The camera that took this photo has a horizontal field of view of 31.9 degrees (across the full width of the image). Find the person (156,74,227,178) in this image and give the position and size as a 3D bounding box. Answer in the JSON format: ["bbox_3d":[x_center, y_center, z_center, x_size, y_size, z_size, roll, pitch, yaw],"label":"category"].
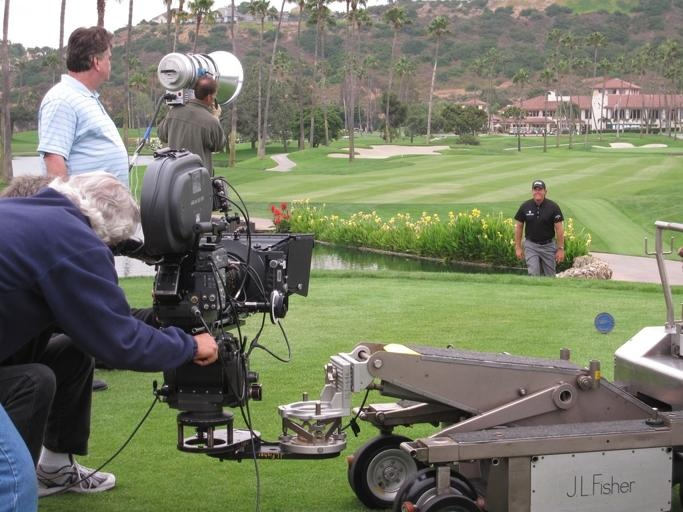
[{"bbox_3d":[-1.305,-1.160,10.448,0.565,0.804,0.309,-1,2,-9],"label":"person"}]

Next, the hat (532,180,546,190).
[{"bbox_3d":[2.599,-0.953,15.699,0.122,0.104,0.194,-2,-3,17],"label":"hat"}]

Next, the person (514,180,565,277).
[{"bbox_3d":[2.690,-0.365,16.087,0.631,1.284,0.987,0,2,2],"label":"person"}]
